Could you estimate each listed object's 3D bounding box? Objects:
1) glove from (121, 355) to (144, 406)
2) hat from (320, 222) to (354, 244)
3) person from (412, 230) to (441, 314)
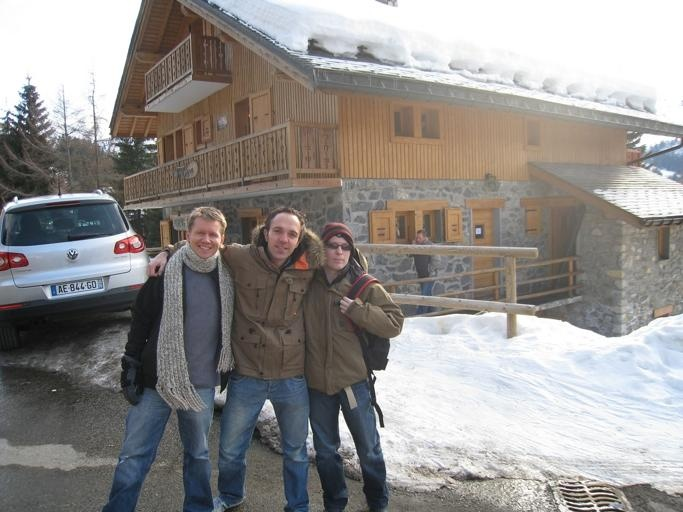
[{"bbox_3d":[-1.678,0.985,4.139,0.248,0.344,0.117,-1,-9,-37],"label":"glove"},{"bbox_3d":[-0.036,-0.195,4.446,0.190,0.151,0.184,18,-6,34],"label":"hat"},{"bbox_3d":[2.150,0.415,13.393,0.603,2.258,1.594,3,14,9],"label":"person"}]
